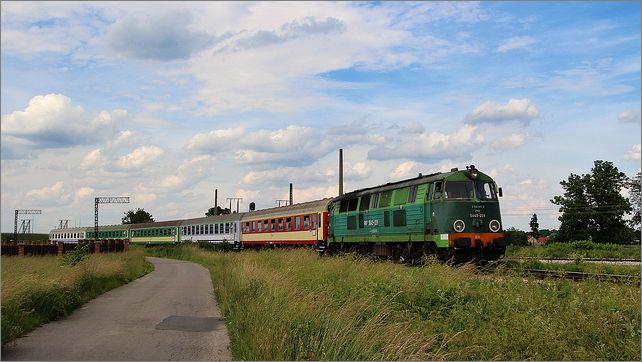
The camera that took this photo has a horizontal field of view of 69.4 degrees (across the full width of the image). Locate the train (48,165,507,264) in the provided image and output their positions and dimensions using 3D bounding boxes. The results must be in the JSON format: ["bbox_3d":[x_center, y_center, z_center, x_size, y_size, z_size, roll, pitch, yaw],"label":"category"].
[{"bbox_3d":[-3.736,3.804,37.092,32.549,2.693,2.457,-6,0,26],"label":"train"}]
